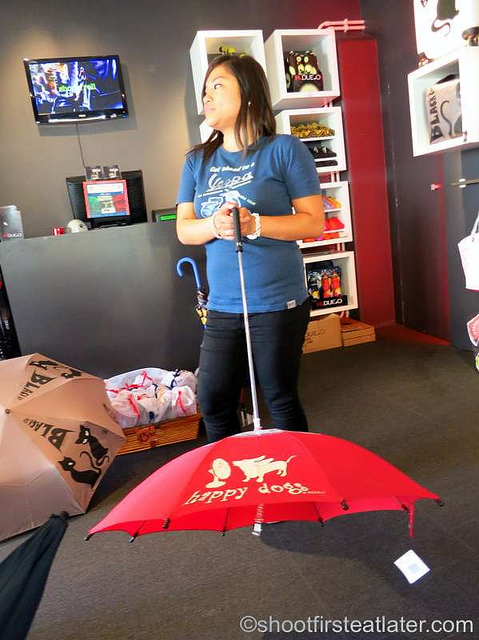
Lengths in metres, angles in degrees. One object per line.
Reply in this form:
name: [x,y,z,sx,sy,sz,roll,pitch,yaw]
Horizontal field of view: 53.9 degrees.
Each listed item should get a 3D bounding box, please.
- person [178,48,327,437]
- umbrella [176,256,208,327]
person: [0.026,-0.192,1.334,0.349,1.087,0.386,-13,8,-35]
umbrella: [-0.280,-0.182,2.707,0.135,0.054,0.436,1,-22,-1]
